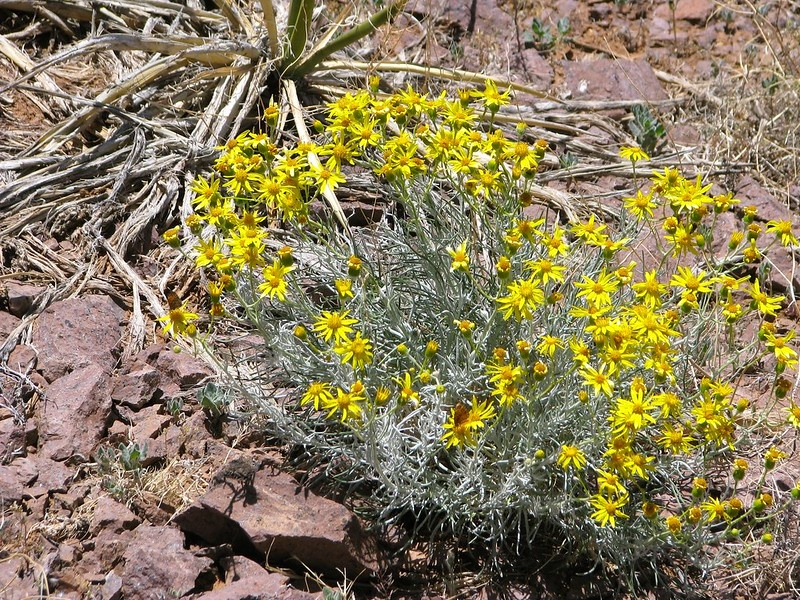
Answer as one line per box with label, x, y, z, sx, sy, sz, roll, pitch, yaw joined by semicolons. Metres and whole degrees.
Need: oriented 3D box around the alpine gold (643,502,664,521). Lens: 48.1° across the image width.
alpine gold;0.994;0.829;3.520;0.076;0.054;0.095;-6;78;9
